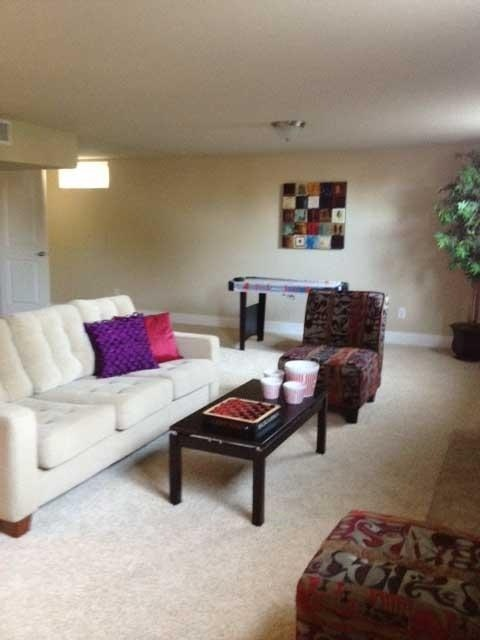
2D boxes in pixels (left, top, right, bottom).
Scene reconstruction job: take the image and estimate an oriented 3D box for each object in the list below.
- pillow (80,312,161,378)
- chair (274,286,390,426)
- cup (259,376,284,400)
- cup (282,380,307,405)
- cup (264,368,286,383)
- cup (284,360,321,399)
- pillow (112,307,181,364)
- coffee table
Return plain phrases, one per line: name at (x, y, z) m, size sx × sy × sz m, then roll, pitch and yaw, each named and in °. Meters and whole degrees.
pillow at (-0.711, 0.150, 3.154) m, size 0.106 × 0.335 × 0.412 m, roll -24°, pitch -8°, yaw 42°
chair at (0.750, 0.181, 3.777) m, size 0.769 × 0.946 × 1.007 m, roll 5°, pitch 9°, yaw 26°
cup at (0.152, 0.336, 2.604) m, size 0.111 × 0.079 × 0.112 m, roll 0°, pitch -1°, yaw 0°
cup at (0.259, 0.351, 2.574) m, size 0.120 × 0.076 × 0.103 m, roll 3°, pitch 7°, yaw 23°
cup at (0.169, 0.284, 2.732) m, size 0.083 × 0.036 × 0.078 m, roll -1°, pitch 1°, yaw 0°
cup at (0.319, 0.309, 2.713) m, size 0.184 × 0.144 × 0.188 m, roll 0°, pitch 1°, yaw 0°
pillow at (-0.617, 0.139, 3.559) m, size 0.129 × 0.295 × 0.321 m, roll -29°, pitch -13°, yaw 31°
coffee table at (0.060, 0.351, 2.351) m, size 0.531 × 0.402 × 0.996 m, roll 5°, pitch 11°, yaw 25°
